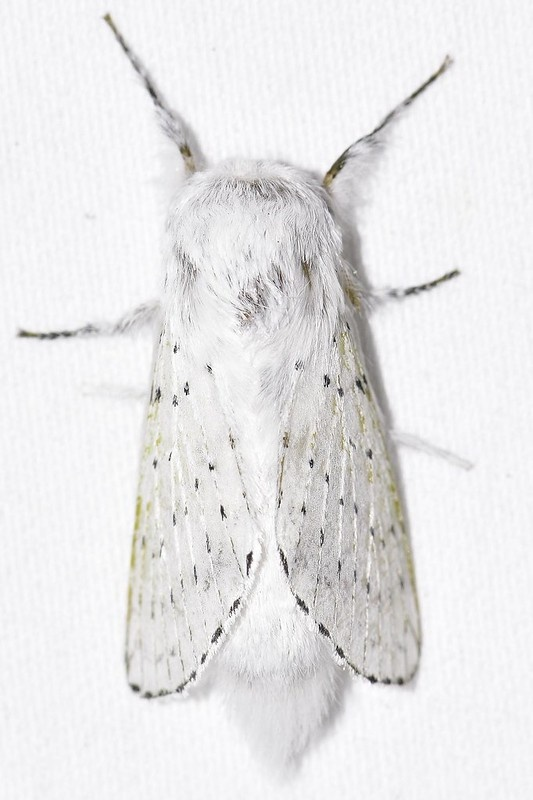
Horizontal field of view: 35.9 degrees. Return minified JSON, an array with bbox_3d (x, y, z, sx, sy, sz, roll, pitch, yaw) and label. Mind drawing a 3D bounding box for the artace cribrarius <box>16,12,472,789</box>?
[{"bbox_3d":[-0.005,-0.033,1.356,0.643,0.280,1.297,-3,93,-2],"label":"artace cribrarius"}]
